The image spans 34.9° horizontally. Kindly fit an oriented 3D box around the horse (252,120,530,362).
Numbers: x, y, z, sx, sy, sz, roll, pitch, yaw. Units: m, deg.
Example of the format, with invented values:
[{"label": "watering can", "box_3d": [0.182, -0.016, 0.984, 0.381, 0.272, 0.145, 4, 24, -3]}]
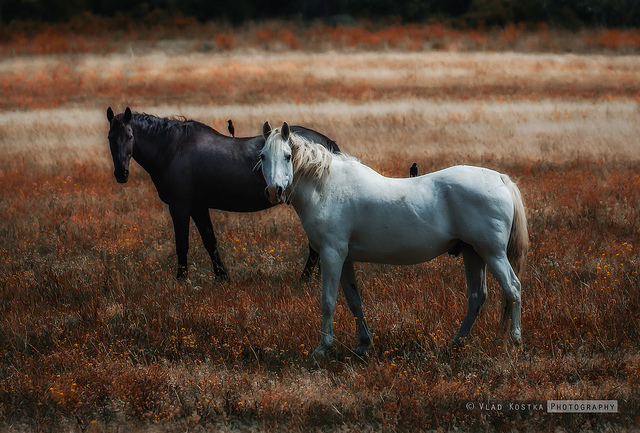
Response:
[{"label": "horse", "box_3d": [1.229, 0.589, 17.382, 3.676, 3.622, 1.238, -1, 4, 5]}]
